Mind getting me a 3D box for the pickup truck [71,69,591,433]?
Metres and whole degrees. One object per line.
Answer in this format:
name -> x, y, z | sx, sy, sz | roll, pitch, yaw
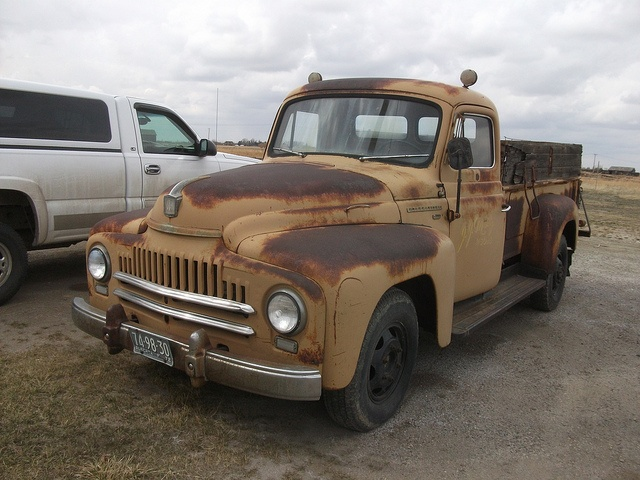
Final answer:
pickup truck -> 0.641, -0.191, 4.349 | 5.255, 2.388, 2.697 | -8, 10, -43
